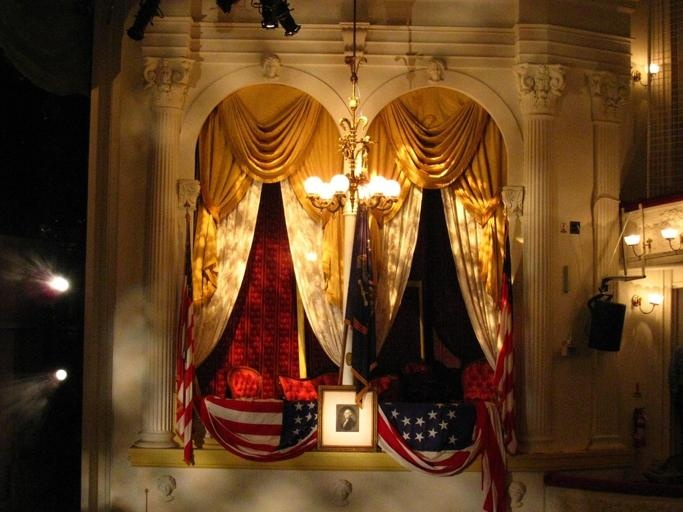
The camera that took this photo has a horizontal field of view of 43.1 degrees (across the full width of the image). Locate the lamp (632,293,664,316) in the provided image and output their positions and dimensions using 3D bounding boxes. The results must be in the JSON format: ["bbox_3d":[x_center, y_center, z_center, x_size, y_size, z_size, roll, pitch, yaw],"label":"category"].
[{"bbox_3d":[4.119,0.676,11.654,0.401,0.350,0.231,-4,-10,29],"label":"lamp"}]

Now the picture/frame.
[{"bbox_3d":[0.086,2.085,10.822,0.648,0.844,0.075,1,-7,-3],"label":"picture/frame"}]

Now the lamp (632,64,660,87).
[{"bbox_3d":[4.372,-2.581,12.417,0.254,0.416,0.275,7,-6,-42],"label":"lamp"}]

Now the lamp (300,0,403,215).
[{"bbox_3d":[0.164,-1.958,11.052,1.134,2.993,1.204,0,-7,3],"label":"lamp"}]

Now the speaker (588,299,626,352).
[{"bbox_3d":[3.373,0.898,11.073,0.389,0.798,0.467,7,3,-26],"label":"speaker"}]
